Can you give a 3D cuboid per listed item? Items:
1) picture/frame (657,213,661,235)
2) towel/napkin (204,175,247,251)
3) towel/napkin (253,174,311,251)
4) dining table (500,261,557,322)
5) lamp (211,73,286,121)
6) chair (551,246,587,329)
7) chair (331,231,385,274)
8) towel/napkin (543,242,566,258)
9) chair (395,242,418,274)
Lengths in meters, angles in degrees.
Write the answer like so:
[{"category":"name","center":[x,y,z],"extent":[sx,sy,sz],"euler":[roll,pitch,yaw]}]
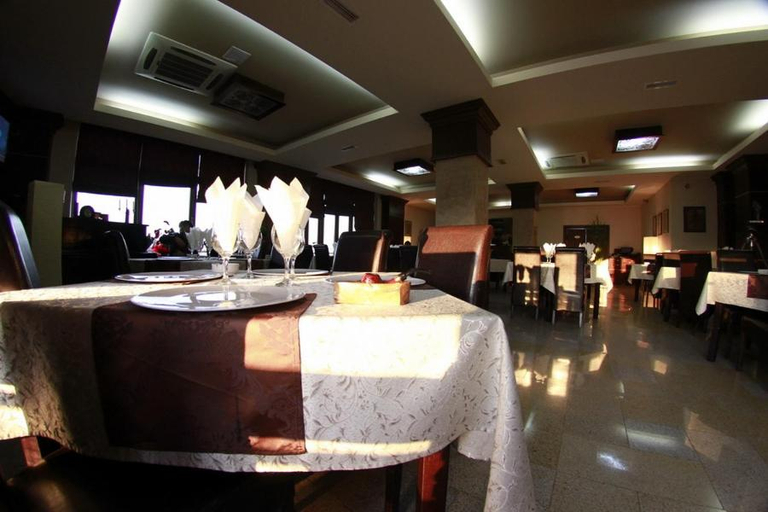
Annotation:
[{"category":"picture/frame","center":[6.465,-0.770,11.312],"extent":[0.020,0.527,0.499],"euler":[-4,-4,23]},{"category":"towel/napkin","center":[-1.055,-0.275,3.241],"extent":[0.255,0.505,0.208],"euler":[-2,13,-19]},{"category":"towel/napkin","center":[-0.688,-0.278,3.315],"extent":[0.348,0.524,0.169],"euler":[0,12,-10]},{"category":"dining table","center":[2.114,0.532,6.940],"extent":[0.782,0.795,0.726],"euler":[-2,-8,35]},{"category":"lamp","center":[-1.900,-2.261,6.860],"extent":[0.870,0.508,0.678],"euler":[-8,16,-41]},{"category":"chair","center":[2.447,0.372,6.384],"extent":[0.484,0.944,0.329],"euler":[10,14,32]},{"category":"chair","center":[-0.188,-0.011,4.315],"extent":[0.342,0.512,0.400],"euler":[4,-2,19]},{"category":"towel/napkin","center":[2.513,-0.086,7.105],"extent":[0.332,0.145,0.420],"euler":[-1,-1,-3]},{"category":"chair","center":[0.370,0.031,7.482],"extent":[0.349,0.524,0.380],"euler":[2,14,8]}]
